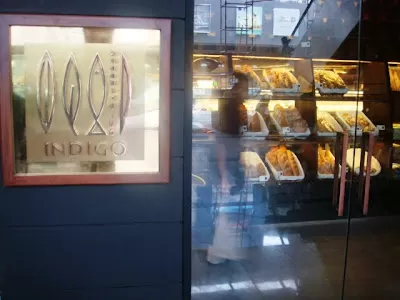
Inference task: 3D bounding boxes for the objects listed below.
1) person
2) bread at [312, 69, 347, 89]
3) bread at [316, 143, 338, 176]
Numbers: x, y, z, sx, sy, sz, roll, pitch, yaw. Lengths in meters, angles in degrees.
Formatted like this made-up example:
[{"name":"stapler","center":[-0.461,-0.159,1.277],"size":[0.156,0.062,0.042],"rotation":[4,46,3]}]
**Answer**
[{"name":"person","center":[0.194,0.118,2.795],"size":[0.251,1.305,0.405],"rotation":[1,11,17]},{"name":"bread","center":[0.935,-0.512,2.883],"size":[0.188,0.136,0.054],"rotation":[15,-28,0]},{"name":"bread","center":[0.947,0.076,2.991],"size":[0.153,0.227,0.082],"rotation":[-1,-13,1]}]
